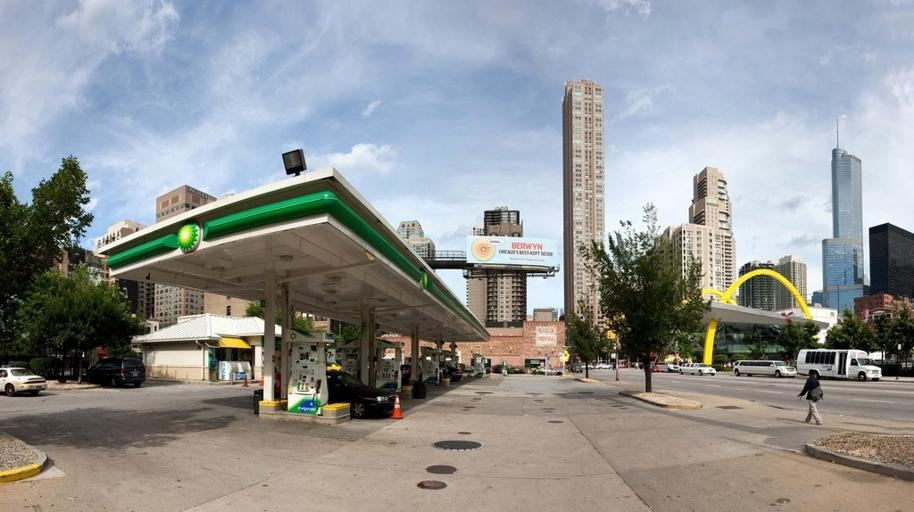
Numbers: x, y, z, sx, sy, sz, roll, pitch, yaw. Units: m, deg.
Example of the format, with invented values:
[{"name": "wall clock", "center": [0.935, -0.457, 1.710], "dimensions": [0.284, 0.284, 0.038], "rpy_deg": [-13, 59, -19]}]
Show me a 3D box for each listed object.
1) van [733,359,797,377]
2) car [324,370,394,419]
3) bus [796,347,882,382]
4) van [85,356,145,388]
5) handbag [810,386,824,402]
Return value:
[{"name": "van", "center": [34.316, 12.566, 75.472], "dimensions": [2.562, 1.477, 6.240], "rpy_deg": [4, -12, -30]}, {"name": "car", "center": [-5.391, 7.716, 37.228], "dimensions": [3.614, 2.362, 1.801], "rpy_deg": [1, 4, 3]}, {"name": "bus", "center": [36.609, 10.349, 64.948], "dimensions": [2.669, 3.206, 7.222], "rpy_deg": [-1, 4, -28]}, {"name": "van", "center": [-25.991, 8.761, 51.452], "dimensions": [4.367, 2.329, 1.574], "rpy_deg": [3, 5, 28]}, {"name": "handbag", "center": [18.924, 7.260, 35.630], "dimensions": [1.114, 0.747, 0.452], "rpy_deg": [-3, -10, 28]}]
